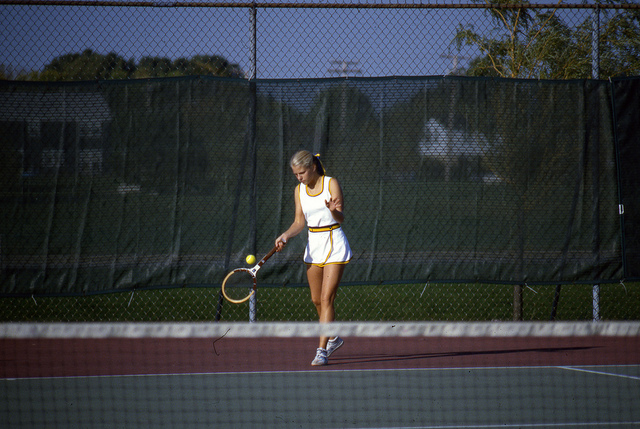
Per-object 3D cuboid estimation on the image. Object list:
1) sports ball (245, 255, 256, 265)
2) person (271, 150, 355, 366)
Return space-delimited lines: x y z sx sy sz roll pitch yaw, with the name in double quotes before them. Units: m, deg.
"sports ball" -0.848 0.538 11.312 0.090 0.104 0.094 3 7 0
"person" -0.058 0.504 11.437 0.919 2.545 1.014 2 5 14
